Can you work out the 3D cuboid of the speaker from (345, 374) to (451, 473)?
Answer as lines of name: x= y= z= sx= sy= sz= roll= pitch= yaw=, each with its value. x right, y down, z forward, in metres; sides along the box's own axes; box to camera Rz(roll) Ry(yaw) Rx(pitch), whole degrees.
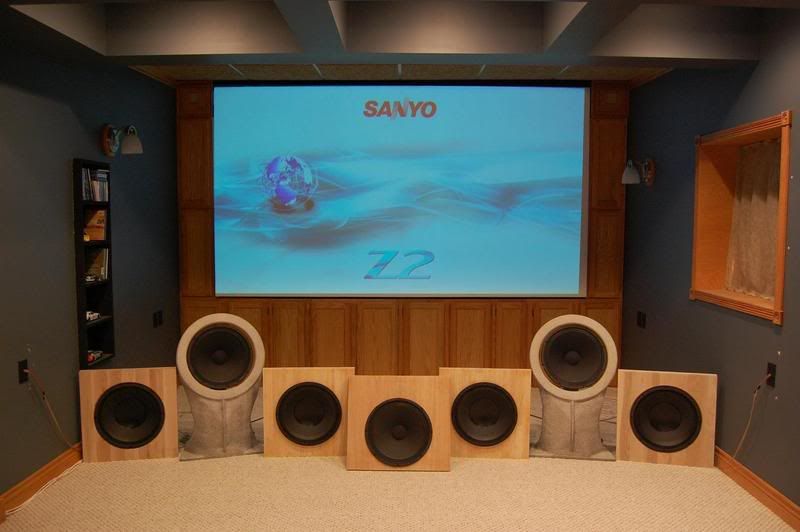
speaker: x=-0.025 y=1.326 z=5.037 sx=0.858 sy=0.239 sz=0.774 roll=0 pitch=-76 yaw=0

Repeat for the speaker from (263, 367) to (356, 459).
speaker: x=-0.808 y=1.299 z=5.558 sx=0.773 sy=0.793 sz=0.785 roll=0 pitch=-93 yaw=-2

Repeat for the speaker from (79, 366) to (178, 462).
speaker: x=-2.343 y=1.284 z=5.137 sx=0.798 sy=0.221 sz=0.793 roll=0 pitch=-76 yaw=0

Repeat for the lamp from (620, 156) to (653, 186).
lamp: x=2.392 y=-0.977 z=6.087 sx=0.361 sy=0.211 sz=0.336 roll=3 pitch=-93 yaw=-21

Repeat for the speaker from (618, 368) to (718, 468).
speaker: x=2.291 y=1.320 z=5.117 sx=0.785 sy=0.407 sz=0.793 roll=2 pitch=-92 yaw=3

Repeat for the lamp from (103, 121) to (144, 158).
lamp: x=-2.576 y=-1.177 z=5.478 sx=0.396 sy=0.223 sz=0.313 roll=-1 pitch=-87 yaw=-1
